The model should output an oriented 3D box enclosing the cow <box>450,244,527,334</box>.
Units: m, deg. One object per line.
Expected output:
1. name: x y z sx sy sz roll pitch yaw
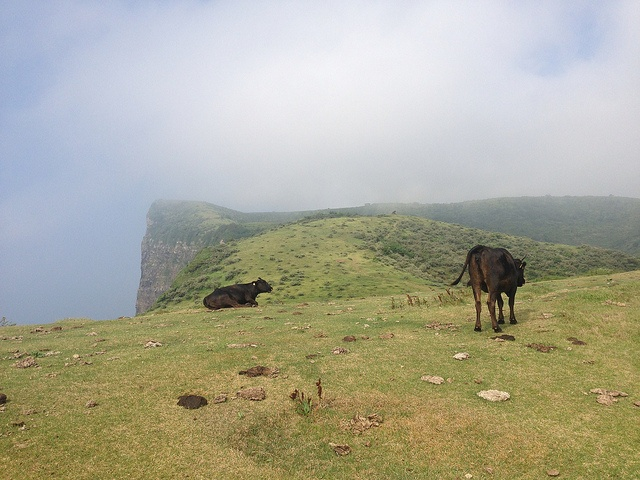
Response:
1. cow: 8.064 2.081 19.460 3.498 3.838 2.124 -12 16 -42
